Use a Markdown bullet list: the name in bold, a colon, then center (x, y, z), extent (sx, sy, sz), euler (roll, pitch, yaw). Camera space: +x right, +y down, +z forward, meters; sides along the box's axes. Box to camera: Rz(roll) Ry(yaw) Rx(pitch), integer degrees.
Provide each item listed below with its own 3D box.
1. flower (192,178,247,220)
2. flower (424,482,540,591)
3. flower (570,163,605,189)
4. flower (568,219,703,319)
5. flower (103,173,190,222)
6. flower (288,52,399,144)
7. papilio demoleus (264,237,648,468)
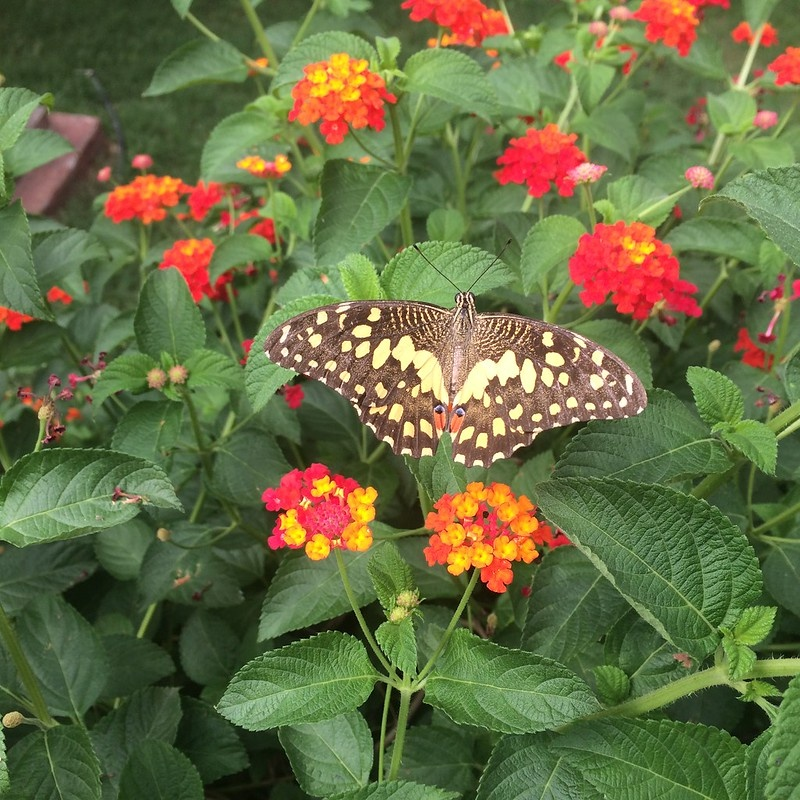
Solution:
- **flower**: center (-0.584, -0.629, 3.068), extent (0.156, 0.057, 0.137), euler (3, 68, -3)
- **flower**: center (0.203, 0.298, 2.130), extent (0.244, 0.078, 0.238), euler (-12, 18, -19)
- **flower**: center (0.495, -0.584, 2.556), extent (0.093, 0.035, 0.085), euler (-4, 16, -1)
- **flower**: center (0.577, -0.385, 2.457), extent (0.285, 0.234, 0.079), euler (11, 76, -16)
- **flower**: center (-0.761, -0.634, 2.948), extent (0.189, 0.206, 0.072), euler (-11, 84, 19)
- **flower**: center (-0.154, -0.818, 2.645), extent (0.276, 0.099, 0.240), euler (-5, 78, -2)
- **papilio demoleus**: center (0.141, -0.067, 2.391), extent (0.886, 0.397, 0.357), euler (-1, 40, 2)
